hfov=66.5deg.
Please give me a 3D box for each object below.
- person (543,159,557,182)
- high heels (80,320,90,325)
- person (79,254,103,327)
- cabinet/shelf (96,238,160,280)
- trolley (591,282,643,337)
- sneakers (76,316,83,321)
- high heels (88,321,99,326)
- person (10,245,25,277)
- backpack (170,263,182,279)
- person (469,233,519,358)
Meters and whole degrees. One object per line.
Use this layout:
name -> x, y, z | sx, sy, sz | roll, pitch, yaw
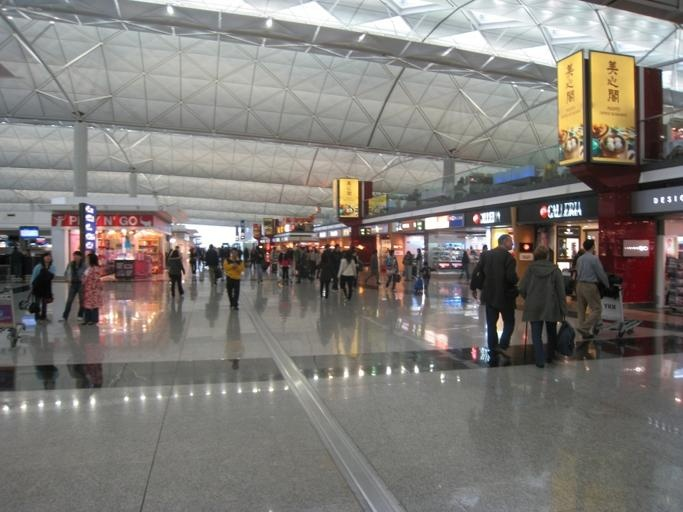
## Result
person -> 7.319, -3.023, 18.160 | 0.257, 0.652, 0.824 | -1, 9, -11
high heels -> -6.417, 1.682, 13.070 | 0.356, 0.140, 0.120 | -7, -8, 34
person -> -6.245, 0.866, 12.968 | 0.470, 1.780, 0.746 | -4, 11, -26
cabinet/shelf -> -12.347, 0.179, 30.280 | 4.216, 2.103, 2.675 | 0, 2, 2
trolley -> 6.519, 1.262, 12.139 | 1.204, 1.079, 0.783 | 1, -4, -13
sneakers -> -7.044, 1.690, 13.977 | 0.130, 0.094, 0.204 | 4, -14, -14
high heels -> -6.194, 1.688, 12.966 | 0.186, 0.085, 0.269 | 1, 4, -17
person -> -16.614, 0.414, 26.554 | 0.612, 1.207, 1.054 | -5, 11, -31
backpack -> -6.161, 0.536, 19.245 | 0.554, 0.490, 0.301 | 3, -16, -18
person -> 2.857, 0.731, 9.766 | 0.608, 2.266, 0.820 | -3, 10, -19
